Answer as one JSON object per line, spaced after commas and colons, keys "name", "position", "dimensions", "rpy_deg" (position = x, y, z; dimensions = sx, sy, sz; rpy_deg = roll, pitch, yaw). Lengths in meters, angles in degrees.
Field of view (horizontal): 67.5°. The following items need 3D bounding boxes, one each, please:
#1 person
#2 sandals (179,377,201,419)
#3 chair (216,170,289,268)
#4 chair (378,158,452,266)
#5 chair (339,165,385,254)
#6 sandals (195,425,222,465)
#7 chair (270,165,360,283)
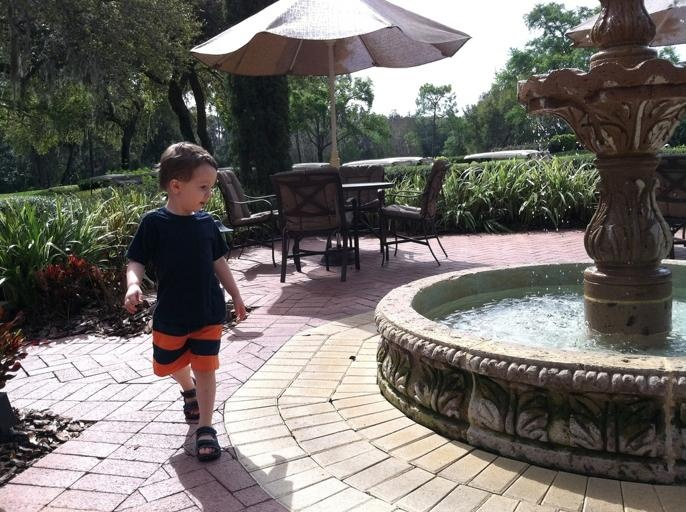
{"name": "person", "position": [-0.777, 0.225, 2.573], "dimensions": [0.533, 1.555, 0.385], "rpy_deg": [-8, 12, -25]}
{"name": "sandals", "position": [-0.890, 0.858, 2.998], "dimensions": [0.084, 0.107, 0.254], "rpy_deg": [-2, 3, -12]}
{"name": "chair", "position": [-1.289, -0.589, 7.356], "dimensions": [0.857, 1.317, 0.763], "rpy_deg": [-2, 9, 12]}
{"name": "chair", "position": [0.900, -0.581, 6.758], "dimensions": [1.003, 1.312, 1.047], "rpy_deg": [-3, 8, -19]}
{"name": "chair", "position": [0.232, -0.827, 7.731], "dimensions": [0.778, 1.128, 0.850], "rpy_deg": [-3, 8, -2]}
{"name": "sandals", "position": [-0.672, 0.946, 2.541], "dimensions": [0.077, 0.079, 0.212], "rpy_deg": [0, -1, -15]}
{"name": "chair", "position": [-0.377, -0.511, 6.232], "dimensions": [0.836, 1.461, 1.038], "rpy_deg": [1, 25, 9]}
